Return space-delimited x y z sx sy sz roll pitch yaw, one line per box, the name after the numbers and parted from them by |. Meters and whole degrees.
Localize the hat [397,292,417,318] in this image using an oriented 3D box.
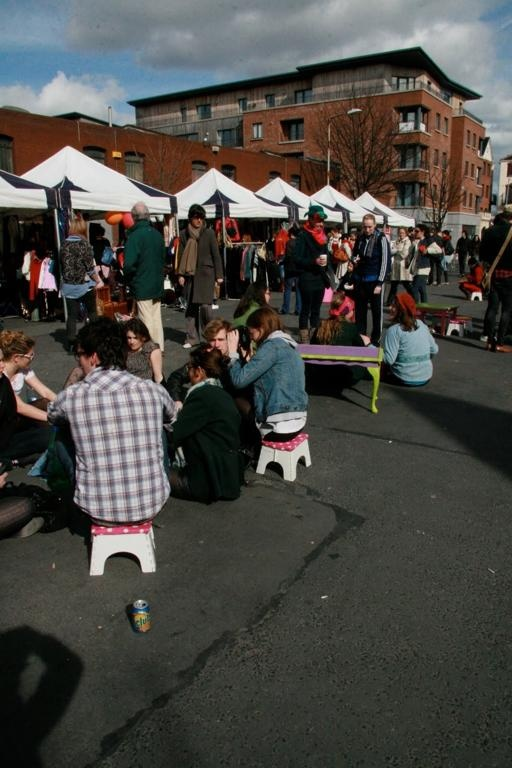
1.751 -0.914 6.864 0.278 0.262 0.161 -3 12 -14 | hat

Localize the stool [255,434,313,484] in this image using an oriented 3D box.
0.230 0.549 4.677 0.366 0.293 0.373 6 13 34 | stool

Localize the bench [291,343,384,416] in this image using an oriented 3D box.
1.010 -0.205 6.475 0.967 0.492 0.732 2 21 12 | bench

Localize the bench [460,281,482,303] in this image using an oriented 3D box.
6.177 -2.646 16.964 0.489 0.658 0.823 -7 8 9 | bench

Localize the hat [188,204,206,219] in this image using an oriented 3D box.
-0.861 -2.474 8.511 0.195 0.219 0.256 -7 9 -29 | hat

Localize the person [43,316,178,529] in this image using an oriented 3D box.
-0.747 0.282 3.300 0.666 1.273 0.944 -11 32 -24 | person

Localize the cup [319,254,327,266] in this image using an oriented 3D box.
0.961 -1.769 8.397 0.148 0.165 0.149 -1 10 0 | cup

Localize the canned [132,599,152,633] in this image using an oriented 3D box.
-0.531 1.034 2.738 0.088 0.148 0.197 -3 12 -11 | canned

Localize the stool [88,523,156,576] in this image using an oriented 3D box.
-0.698 0.847 3.124 0.298 0.208 0.294 -1 6 -7 | stool

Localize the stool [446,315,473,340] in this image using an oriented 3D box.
3.930 -1.098 11.460 0.437 0.358 0.564 5 15 28 | stool
